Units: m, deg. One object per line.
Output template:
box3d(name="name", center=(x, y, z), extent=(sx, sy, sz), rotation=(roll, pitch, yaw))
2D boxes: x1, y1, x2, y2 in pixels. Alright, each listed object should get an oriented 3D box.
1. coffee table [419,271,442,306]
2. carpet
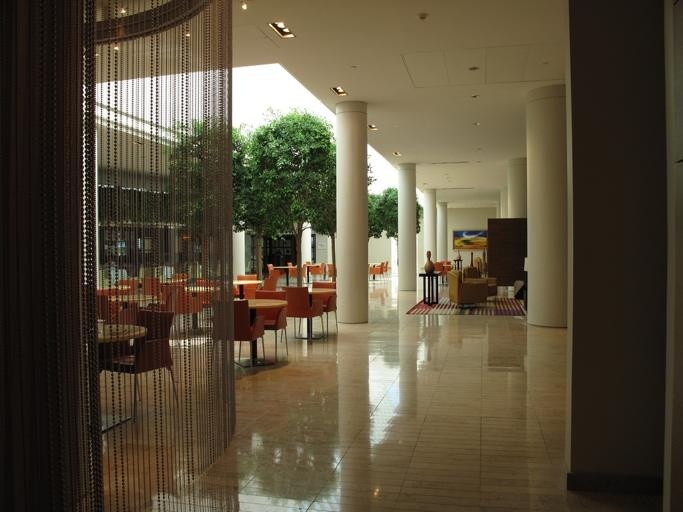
box3d(name="coffee table", center=(2.469, 0.918, 16.399), extent=(0.692, 0.965, 0.685), rotation=(-1, -3, -2))
box3d(name="carpet", center=(3.032, 1.214, 14.182), extent=(2.593, 0.155, 3.399), rotation=(1, 4, 15))
